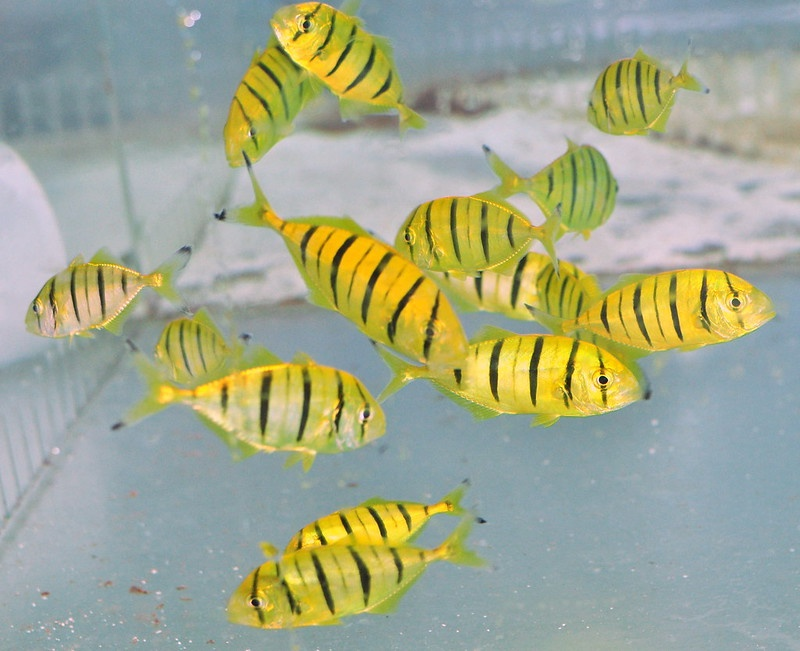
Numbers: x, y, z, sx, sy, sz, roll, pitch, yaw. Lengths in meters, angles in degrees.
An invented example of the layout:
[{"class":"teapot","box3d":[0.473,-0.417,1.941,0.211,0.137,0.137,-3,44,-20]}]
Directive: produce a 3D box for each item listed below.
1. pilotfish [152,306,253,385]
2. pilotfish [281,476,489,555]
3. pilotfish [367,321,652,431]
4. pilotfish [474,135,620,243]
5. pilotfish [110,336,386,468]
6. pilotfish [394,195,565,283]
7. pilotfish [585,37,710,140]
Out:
[{"class":"pilotfish","box3d":[-0.652,0.081,3.479,0.370,0.243,0.078,-3,6,18]},{"class":"pilotfish","box3d":[-0.034,0.626,3.232,0.577,0.134,0.218,-13,43,-16]},{"class":"pilotfish","box3d":[0.328,0.155,3.175,0.787,0.329,0.190,0,31,16]},{"class":"pilotfish","box3d":[0.512,-0.441,3.451,0.486,0.330,0.060,-1,0,-20]},{"class":"pilotfish","box3d":[-0.395,0.247,3.125,0.734,0.382,0.178,4,27,-16]},{"class":"pilotfish","box3d":[0.218,-0.269,3.153,0.514,0.296,0.119,4,26,17]},{"class":"pilotfish","box3d":[0.776,-0.741,3.394,0.392,0.261,0.082,-10,-3,15]}]
